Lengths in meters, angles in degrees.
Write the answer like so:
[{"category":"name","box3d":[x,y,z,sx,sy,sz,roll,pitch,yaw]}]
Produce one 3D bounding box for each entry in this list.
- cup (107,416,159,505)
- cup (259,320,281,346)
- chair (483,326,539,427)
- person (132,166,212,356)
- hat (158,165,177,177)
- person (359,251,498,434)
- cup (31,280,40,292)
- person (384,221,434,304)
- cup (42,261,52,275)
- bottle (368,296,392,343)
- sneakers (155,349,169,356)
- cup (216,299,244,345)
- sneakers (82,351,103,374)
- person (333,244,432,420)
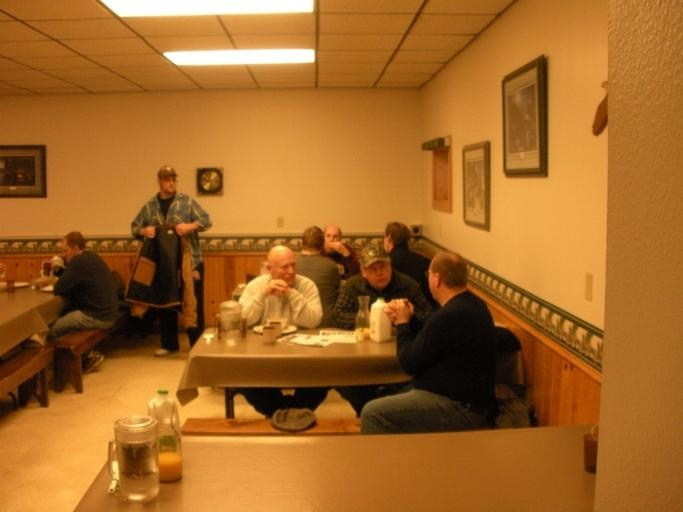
[{"category":"cup","box3d":[-0.639,0.625,1.681,0.123,0.231,0.147,-3,8,-20]},{"category":"cup","box3d":[-0.435,0.485,3.396,0.134,0.119,0.083,0,0,-35]},{"category":"chair","box3d":[1.237,0.861,3.822,0.279,0.380,0.279,2,9,44]},{"category":"person","box3d":[-1.939,0.058,6.152,0.858,2.131,0.600,0,7,1]},{"category":"hat","box3d":[-1.971,-0.936,6.086,0.216,0.162,0.301,-1,2,-27]},{"category":"person","box3d":[0.475,0.714,3.188,0.809,1.446,0.547,-1,2,30]},{"category":"cup","box3d":[-3.176,0.312,5.551,0.103,0.098,0.102,1,1,0]},{"category":"person","box3d":[0.662,0.162,5.023,0.412,1.181,0.404,3,49,22]},{"category":"cup","box3d":[-3.361,0.136,6.138,0.153,0.160,0.285,0,-4,-23]},{"category":"bottle","box3d":[0.255,0.397,3.414,0.158,0.268,0.161,0,3,0]},{"category":"sneakers","box3d":[-2.054,1.100,6.161,0.152,0.073,0.106,-2,8,-15]},{"category":"cup","box3d":[-0.722,0.437,3.531,0.178,0.288,0.174,-1,0,0]},{"category":"sneakers","box3d":[-2.597,1.106,5.673,0.112,0.129,0.283,-25,-4,5]},{"category":"person","box3d":[0.251,0.620,3.787,0.777,1.355,0.769,0,7,-4]}]
